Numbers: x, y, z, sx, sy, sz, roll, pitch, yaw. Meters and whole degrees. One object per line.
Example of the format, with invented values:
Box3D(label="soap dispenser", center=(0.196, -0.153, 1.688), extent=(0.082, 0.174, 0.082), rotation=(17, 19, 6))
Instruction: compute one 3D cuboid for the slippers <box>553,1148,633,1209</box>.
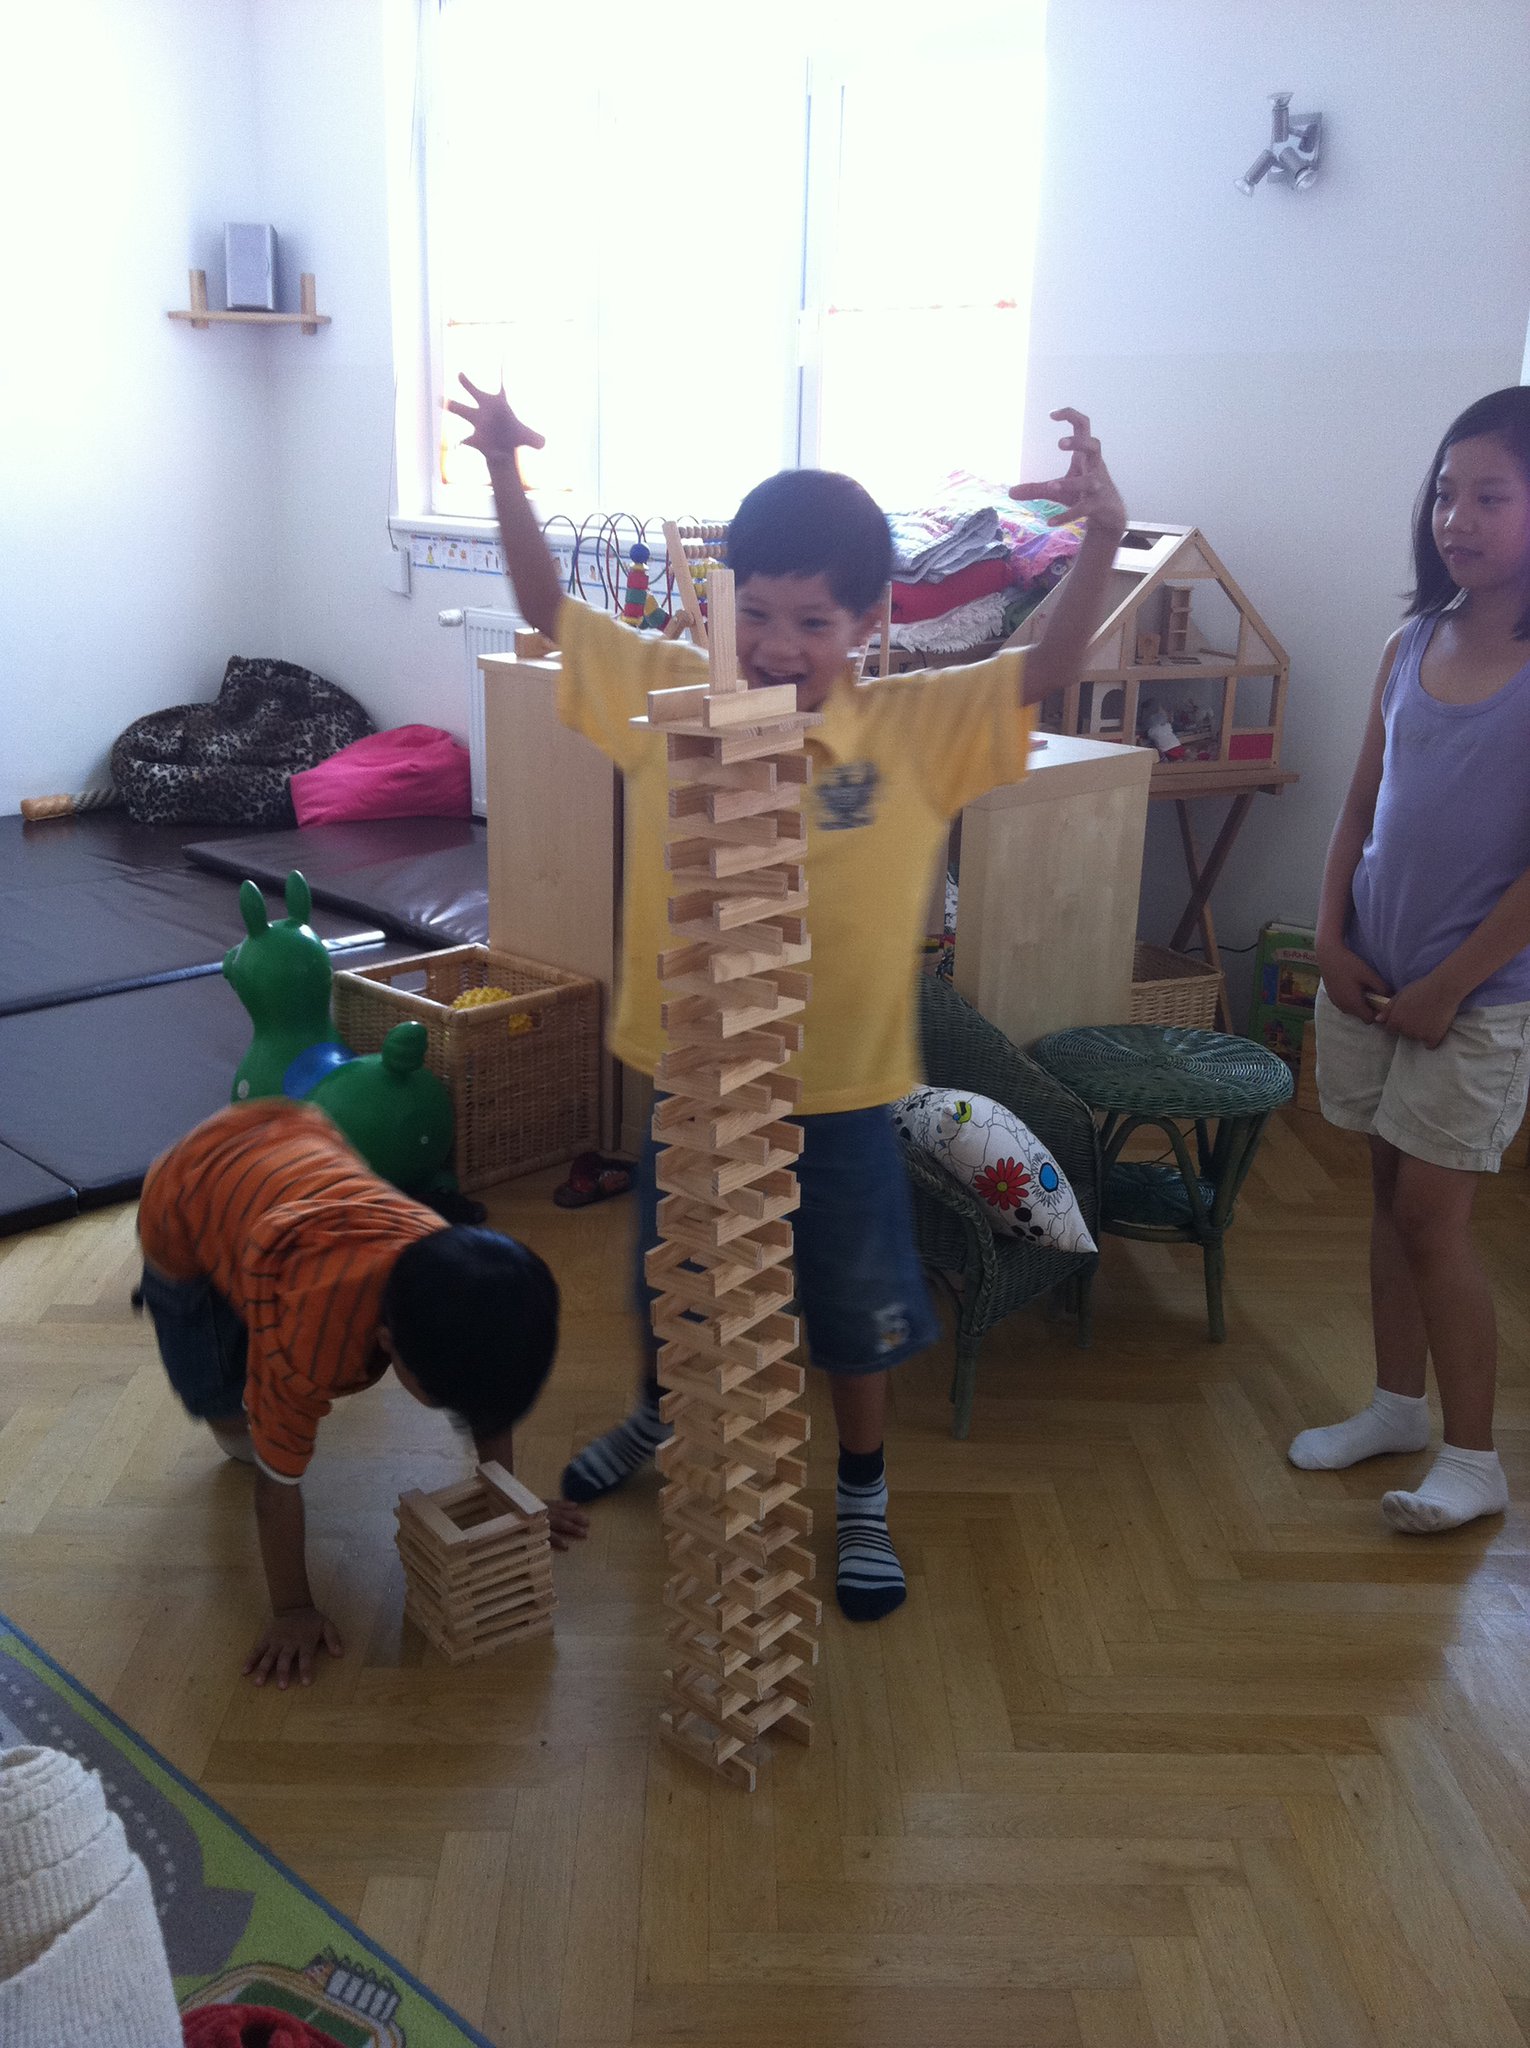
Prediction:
Box3D(label="slippers", center=(-0.326, 0.292, 3.019), extent=(0.061, 0.065, 0.172), rotation=(2, 5, 37))

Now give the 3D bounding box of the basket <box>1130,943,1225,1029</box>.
Box3D(label="basket", center=(0.872, -0.077, 3.589), extent=(0.185, 0.104, 0.234), rotation=(-10, 16, -37))

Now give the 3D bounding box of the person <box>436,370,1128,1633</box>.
Box3D(label="person", center=(-0.014, 0.031, 1.767), extent=(0.625, 1.325, 0.444), rotation=(17, 27, 34))

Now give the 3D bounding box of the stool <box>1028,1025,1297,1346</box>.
Box3D(label="stool", center=(0.580, 0.264, 2.603), extent=(0.458, 0.411, 0.453), rotation=(-1, 12, -20))

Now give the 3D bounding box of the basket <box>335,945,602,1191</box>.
Box3D(label="basket", center=(-0.518, 0.034, 3.235), extent=(0.462, 0.413, 0.554), rotation=(-13, 20, -39))

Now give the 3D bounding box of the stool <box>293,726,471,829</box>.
Box3D(label="stool", center=(-1.289, -0.818, 5.530), extent=(0.448, 0.144, 0.437), rotation=(-18, 28, -12))

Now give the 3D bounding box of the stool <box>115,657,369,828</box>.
Box3D(label="stool", center=(-1.932, -0.932, 6.018), extent=(0.685, 0.293, 0.758), rotation=(33, 52, 32))
